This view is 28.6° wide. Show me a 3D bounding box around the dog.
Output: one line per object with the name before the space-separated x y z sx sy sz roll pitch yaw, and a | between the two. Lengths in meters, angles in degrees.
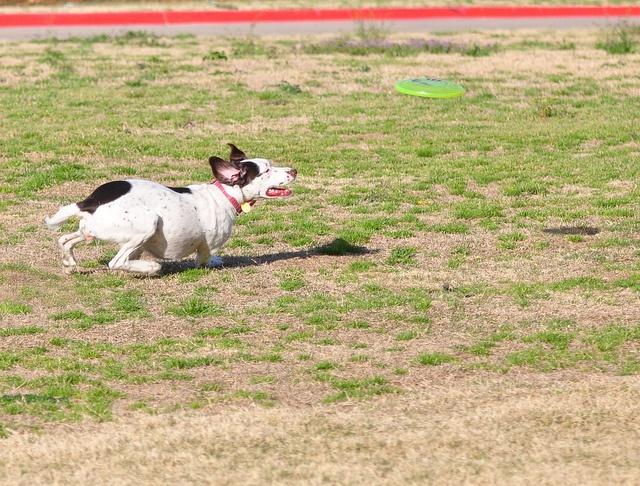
dog | -2.485 -0.543 19.993 4.528 1.868 1.456 -7 21 -42
